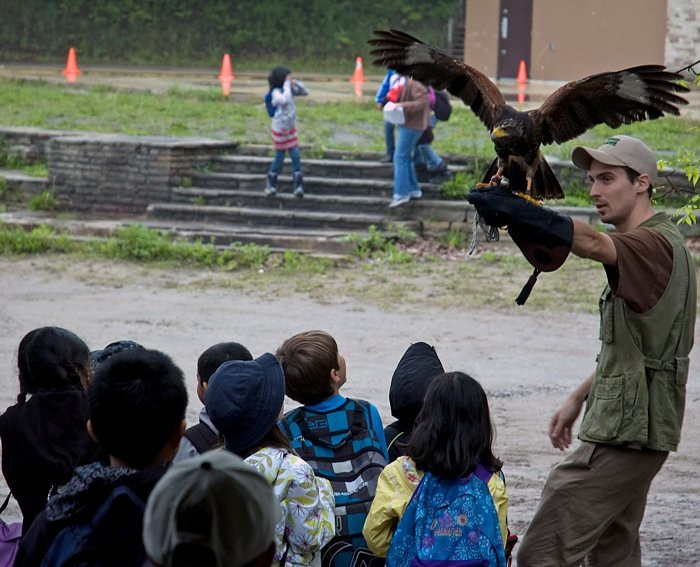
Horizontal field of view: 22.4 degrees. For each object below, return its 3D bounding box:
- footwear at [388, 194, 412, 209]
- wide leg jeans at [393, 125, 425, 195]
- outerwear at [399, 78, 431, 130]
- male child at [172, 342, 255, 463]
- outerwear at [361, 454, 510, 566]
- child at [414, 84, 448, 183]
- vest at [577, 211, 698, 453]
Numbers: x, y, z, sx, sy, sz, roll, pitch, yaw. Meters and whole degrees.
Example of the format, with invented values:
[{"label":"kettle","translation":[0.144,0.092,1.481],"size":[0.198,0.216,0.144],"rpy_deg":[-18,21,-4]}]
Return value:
[{"label":"footwear","translation":[0.552,-0.915,19.904],"size":[0.283,0.136,0.098],"rpy_deg":[-18,9,-26]},{"label":"wide leg jeans","translation":[0.624,-1.394,19.953],"size":[0.292,0.980,0.378],"rpy_deg":[2,25,4]},{"label":"outerwear","translation":[0.724,-1.967,19.731],"size":[0.382,0.786,0.632],"rpy_deg":[0,28,1]},{"label":"male child","translation":[-1.010,0.927,13.215],"size":[0.643,0.934,0.471],"rpy_deg":[-3,11,-14]},{"label":"outerwear","translation":[0.669,1.986,13.294],"size":[1.165,1.262,0.660],"rpy_deg":[4,-10,6]},{"label":"child","translation":[0.825,-1.821,20.659],"size":[0.286,1.107,0.247],"rpy_deg":[-4,8,-16]},{"label":"vest","translation":[2.163,0.389,13.330],"size":[0.758,1.644,0.508],"rpy_deg":[6,13,9]}]
